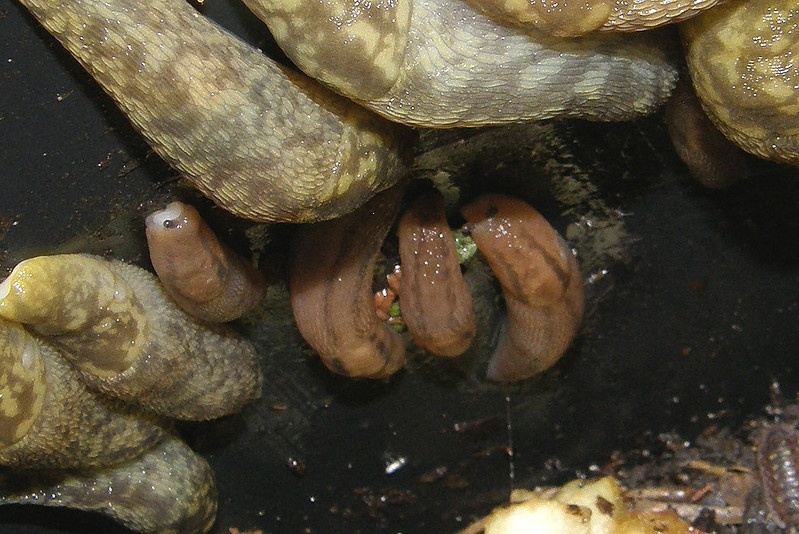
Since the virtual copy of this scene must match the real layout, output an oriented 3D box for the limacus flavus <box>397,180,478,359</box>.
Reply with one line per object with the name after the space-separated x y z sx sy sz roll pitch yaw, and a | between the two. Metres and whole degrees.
0.138 0.040 4.157 0.339 0.618 0.154 0 9 8 | limacus flavus
